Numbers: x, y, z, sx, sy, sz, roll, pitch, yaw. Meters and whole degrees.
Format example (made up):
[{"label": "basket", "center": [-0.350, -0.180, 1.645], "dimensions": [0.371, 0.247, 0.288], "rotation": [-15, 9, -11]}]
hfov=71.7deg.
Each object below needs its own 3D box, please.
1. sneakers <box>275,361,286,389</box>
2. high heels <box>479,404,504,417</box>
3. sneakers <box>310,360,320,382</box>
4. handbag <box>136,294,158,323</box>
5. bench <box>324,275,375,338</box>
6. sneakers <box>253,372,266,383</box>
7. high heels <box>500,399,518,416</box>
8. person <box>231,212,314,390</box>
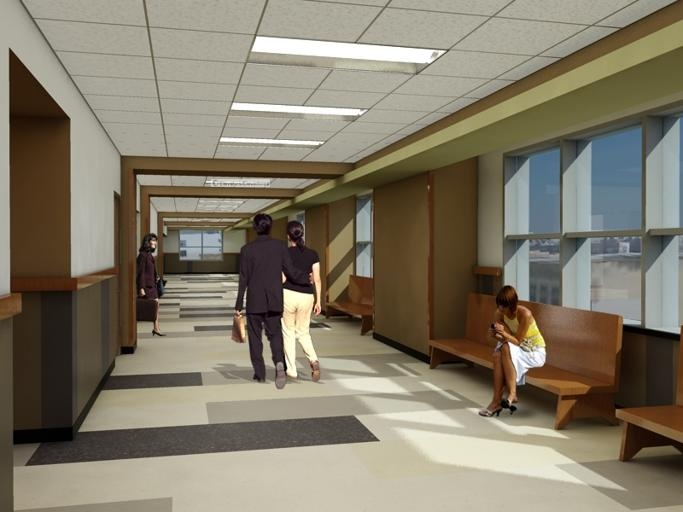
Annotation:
[{"label": "sneakers", "center": [-0.764, 1.458, 5.891], "dimensions": [0.139, 0.339, 0.134], "rotation": [0, -13, -5]}, {"label": "high heels", "center": [1.630, 1.705, 5.174], "dimensions": [0.221, 0.098, 0.134], "rotation": [4, -9, -10]}, {"label": "sneakers", "center": [-0.334, 1.457, 6.132], "dimensions": [0.112, 0.317, 0.124], "rotation": [-5, 4, -16]}, {"label": "handbag", "center": [-3.730, 0.850, 9.027], "dimensions": [0.589, 0.621, 0.227], "rotation": [1, 4, 2]}, {"label": "bench", "center": [0.154, 0.904, 11.983], "dimensions": [1.052, 1.276, 3.808], "rotation": [0, 2, -2]}, {"label": "sneakers", "center": [-1.099, 1.607, 6.330], "dimensions": [0.151, 0.076, 0.194], "rotation": [2, 6, -16]}, {"label": "high heels", "center": [1.859, 1.699, 5.242], "dimensions": [0.117, 0.164, 0.402], "rotation": [1, -16, 25]}, {"label": "person", "center": [-0.957, 0.477, 6.053], "dimensions": [0.759, 2.424, 0.742], "rotation": [0, 2, -19]}]
